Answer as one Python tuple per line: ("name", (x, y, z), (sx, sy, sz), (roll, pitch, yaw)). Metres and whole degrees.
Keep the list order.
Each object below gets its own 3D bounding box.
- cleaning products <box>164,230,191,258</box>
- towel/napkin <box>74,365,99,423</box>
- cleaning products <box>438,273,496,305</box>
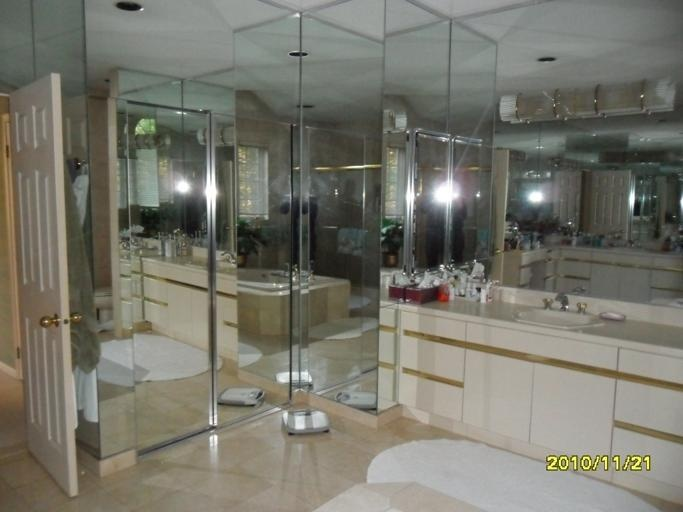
("cleaning products", (-1.201, -0.082, 4.067), (0.193, 0.227, 0.172), (2, 4, 7))
("towel/napkin", (-1.691, 0.930, 3.712), (0.179, 0.379, 0.038), (2, 8, 22))
("cleaning products", (1.048, 0.257, 4.666), (0.347, 0.114, 0.258), (7, 9, 44))
